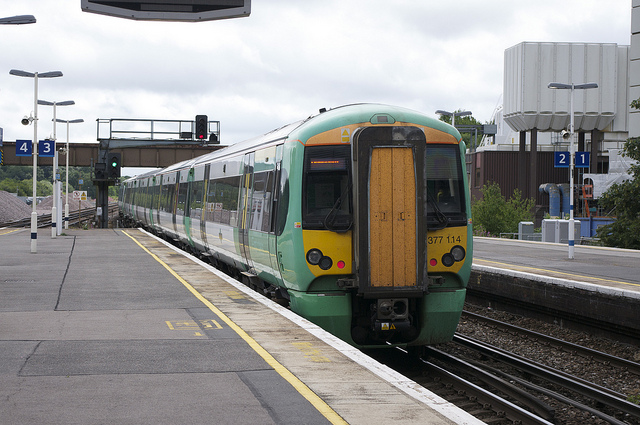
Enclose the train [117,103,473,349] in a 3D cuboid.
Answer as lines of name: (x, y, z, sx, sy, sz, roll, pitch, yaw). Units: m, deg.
train: (-3.025, 0.060, 19.296, 3.277, 5.099, 20.744, -1, 1, -26)
